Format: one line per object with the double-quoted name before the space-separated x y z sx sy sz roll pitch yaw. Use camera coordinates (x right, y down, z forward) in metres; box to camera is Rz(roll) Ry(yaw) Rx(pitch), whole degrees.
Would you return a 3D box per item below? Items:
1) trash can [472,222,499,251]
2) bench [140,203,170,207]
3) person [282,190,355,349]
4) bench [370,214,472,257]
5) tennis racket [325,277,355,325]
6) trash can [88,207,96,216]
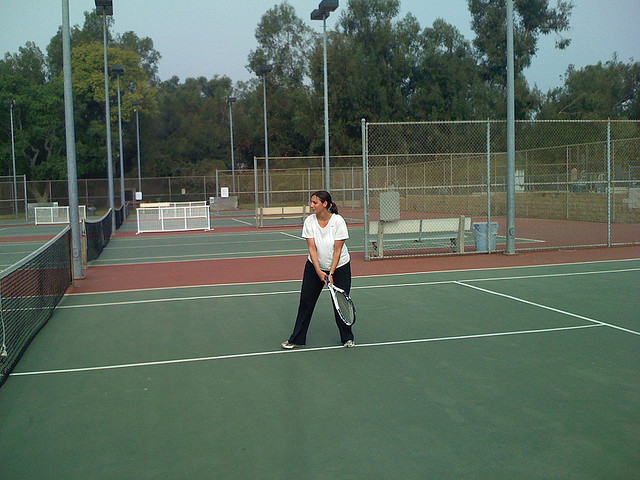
"trash can" 4.536 -0.092 16.866 0.656 0.794 0.764 1 4 21
"bench" -9.992 -2.108 36.770 1.097 0.297 1.092 1 8 -2
"person" 0.014 0.399 8.025 0.873 2.080 0.547 0 4 0
"bench" 2.760 -0.026 16.938 2.774 1.139 0.921 -3 4 0
"tennis racket" 0.262 0.858 8.431 0.054 0.290 0.722 -25 22 -10
"trash can" -18.524 -2.294 49.347 0.492 0.778 0.890 -4 3 -3
